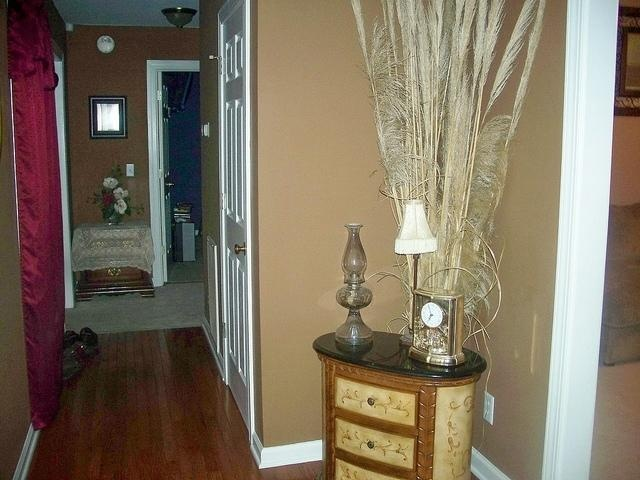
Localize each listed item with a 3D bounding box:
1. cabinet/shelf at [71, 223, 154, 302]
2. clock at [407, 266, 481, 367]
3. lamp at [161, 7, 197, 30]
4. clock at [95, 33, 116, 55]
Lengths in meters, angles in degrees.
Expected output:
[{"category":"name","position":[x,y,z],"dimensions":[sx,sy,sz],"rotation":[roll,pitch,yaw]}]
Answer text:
[{"category":"cabinet/shelf","position":[-2.449,0.326,6.043],"dimensions":[0.834,0.822,0.730],"rotation":[-2,-8,-27]},{"category":"clock","position":[0.539,0.383,2.327],"dimensions":[0.255,0.316,0.204],"rotation":[3,12,15]},{"category":"lamp","position":[-1.429,-2.285,5.223],"dimensions":[0.326,0.141,0.332],"rotation":[-1,12,-8]},{"category":"clock","position":[-2.490,-2.258,5.923],"dimensions":[0.186,0.201,0.050],"rotation":[2,10,-10]}]
